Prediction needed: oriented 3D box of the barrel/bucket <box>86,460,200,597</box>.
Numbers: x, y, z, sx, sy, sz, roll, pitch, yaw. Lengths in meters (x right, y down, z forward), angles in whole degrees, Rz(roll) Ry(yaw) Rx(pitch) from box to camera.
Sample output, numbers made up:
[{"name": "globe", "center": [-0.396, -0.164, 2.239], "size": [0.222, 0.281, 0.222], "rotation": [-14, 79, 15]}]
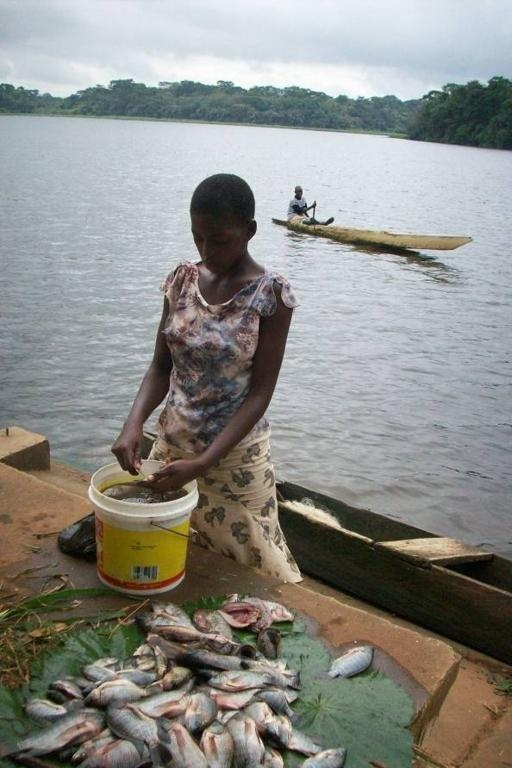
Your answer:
[{"name": "barrel/bucket", "center": [-0.409, 0.591, 2.616], "size": [0.526, 0.391, 0.506], "rotation": [3, 11, -1]}]

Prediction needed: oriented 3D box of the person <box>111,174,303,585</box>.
[{"name": "person", "center": [-0.114, 0.043, 2.777], "size": [0.874, 1.791, 0.743], "rotation": [9, 12, 1]}]

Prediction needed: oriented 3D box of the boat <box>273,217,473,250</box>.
[{"name": "boat", "center": [3.958, -5.368, 23.427], "size": [9.237, 0.925, 1.336], "rotation": [17, 21, 39]}]

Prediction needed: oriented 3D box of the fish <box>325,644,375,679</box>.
[{"name": "fish", "center": [0.328, 0.977, 2.280], "size": [0.186, 0.059, 0.054], "rotation": [-8, -16, -36]}]
